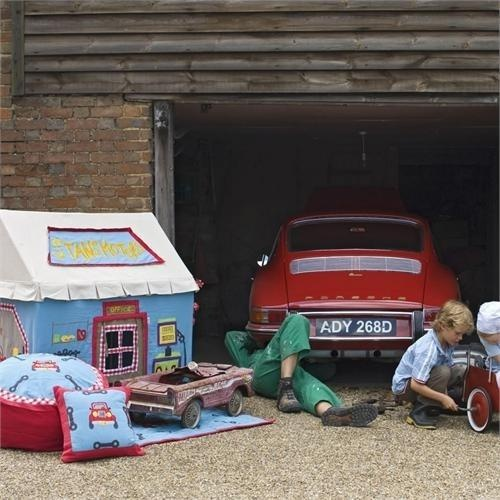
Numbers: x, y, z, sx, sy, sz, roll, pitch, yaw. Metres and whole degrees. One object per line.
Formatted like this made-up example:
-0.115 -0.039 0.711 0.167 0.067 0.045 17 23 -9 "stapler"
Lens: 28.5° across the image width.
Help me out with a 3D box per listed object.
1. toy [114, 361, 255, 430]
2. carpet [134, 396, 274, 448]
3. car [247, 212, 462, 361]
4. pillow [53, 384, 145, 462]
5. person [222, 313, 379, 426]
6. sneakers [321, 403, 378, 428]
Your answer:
-0.498 1.182 8.170 0.593 0.307 1.067 5 7 37 "toy"
-0.456 1.416 8.058 1.281 0.151 0.690 -6 16 -30 "carpet"
1.065 0.349 9.742 1.996 1.380 2.852 1 6 11 "car"
-1.112 1.264 7.306 0.608 0.476 0.342 -3 16 -20 "pillow"
0.294 0.969 8.852 0.786 0.723 1.903 0 8 -25 "person"
0.807 1.327 8.062 0.485 0.164 0.198 -2 15 12 "sneakers"
